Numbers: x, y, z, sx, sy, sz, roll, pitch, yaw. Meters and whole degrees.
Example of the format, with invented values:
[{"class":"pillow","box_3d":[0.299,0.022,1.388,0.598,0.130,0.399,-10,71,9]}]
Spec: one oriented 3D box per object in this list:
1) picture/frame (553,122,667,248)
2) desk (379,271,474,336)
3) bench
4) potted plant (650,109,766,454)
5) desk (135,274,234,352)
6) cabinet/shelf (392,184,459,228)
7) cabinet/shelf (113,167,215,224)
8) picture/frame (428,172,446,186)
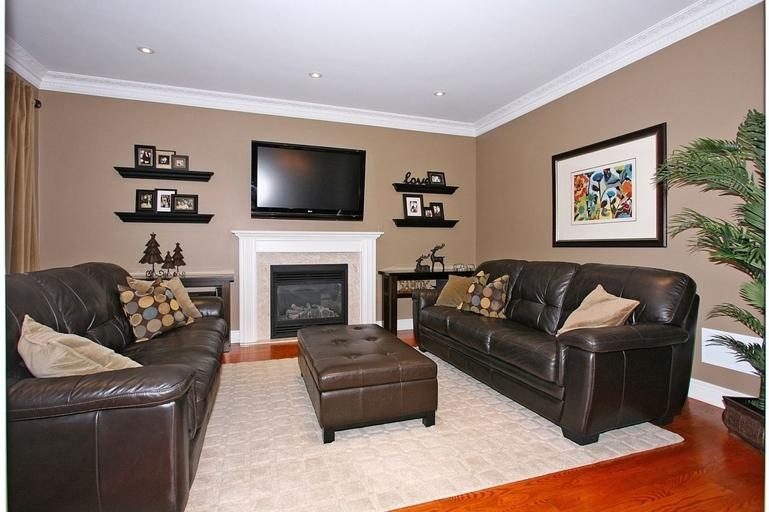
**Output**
[{"class":"picture/frame","box_3d":[2.417,-0.748,5.124,0.066,1.091,1.500,1,-3,-24]},{"class":"desk","box_3d":[0.493,0.556,5.863,0.928,0.543,0.316,0,0,-23]},{"class":"bench","box_3d":[-0.165,0.860,3.986,0.754,0.403,1.145,-3,6,-18]},{"class":"potted plant","box_3d":[2.681,0.105,3.936,0.783,2.626,1.141,2,6,29]},{"class":"desk","box_3d":[-2.293,0.870,5.917,1.368,1.228,0.844,-1,0,-23]},{"class":"cabinet/shelf","box_3d":[0.545,-0.725,6.989,0.704,0.401,0.124,1,-3,-20]},{"class":"cabinet/shelf","box_3d":[-2.745,-0.744,5.899,0.767,0.485,0.130,0,-3,-24]},{"class":"picture/frame","box_3d":[0.746,-1.120,7.030,0.227,0.179,0.114,0,-5,-22]}]
